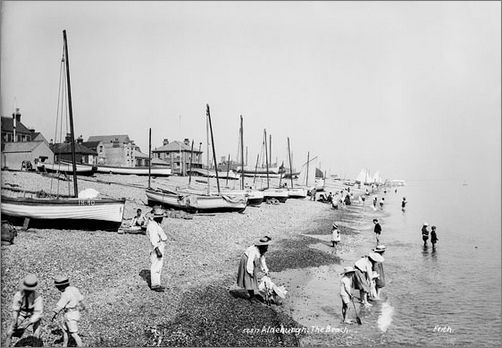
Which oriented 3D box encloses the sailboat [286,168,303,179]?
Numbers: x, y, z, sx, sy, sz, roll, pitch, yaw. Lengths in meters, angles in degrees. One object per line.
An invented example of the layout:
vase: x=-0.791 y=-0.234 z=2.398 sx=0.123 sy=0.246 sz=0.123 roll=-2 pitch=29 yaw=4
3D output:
sailboat: x=14.838 y=0.253 z=154.552 sx=1.970 sy=3.585 sz=14.710 roll=-6 pitch=-3 yaw=10

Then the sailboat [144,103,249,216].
sailboat: x=-5.664 y=3.149 z=48.901 sx=10.278 sy=3.100 sz=2.270 roll=-2 pitch=14 yaw=-27

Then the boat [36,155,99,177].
boat: x=-24.285 y=-2.015 z=58.261 sx=7.995 sy=2.198 sz=2.469 roll=6 pitch=11 yaw=1

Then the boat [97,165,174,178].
boat: x=-19.353 y=-0.429 z=73.635 sx=11.662 sy=1.647 sz=2.449 roll=1 pitch=3 yaw=-34
